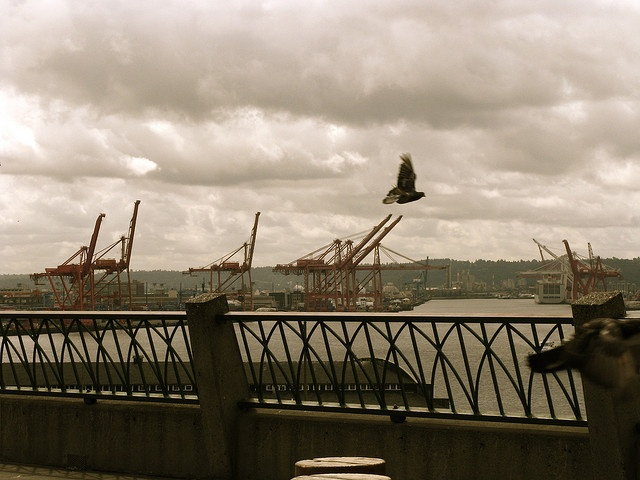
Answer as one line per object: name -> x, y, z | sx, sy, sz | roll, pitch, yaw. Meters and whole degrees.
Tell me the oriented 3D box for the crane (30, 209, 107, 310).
crane -> -17.225, 1.960, 70.039 | 5.092, 7.590, 1.591 | -1, 0, -40
